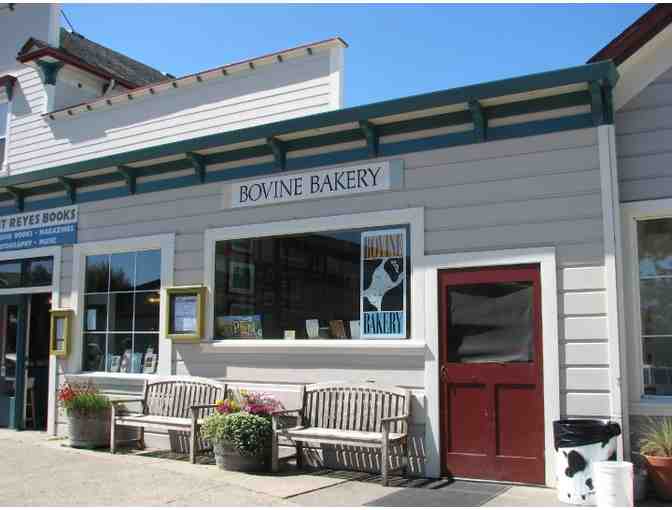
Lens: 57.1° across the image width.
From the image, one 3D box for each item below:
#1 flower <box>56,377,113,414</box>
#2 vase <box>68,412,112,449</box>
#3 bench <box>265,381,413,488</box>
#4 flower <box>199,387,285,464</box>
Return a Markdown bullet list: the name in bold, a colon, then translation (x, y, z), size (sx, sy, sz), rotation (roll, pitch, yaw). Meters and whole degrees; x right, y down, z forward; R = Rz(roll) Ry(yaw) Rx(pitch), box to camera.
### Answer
- **flower**: translation (-3.890, 2.193, 9.653), size (0.621, 0.411, 0.716), rotation (-1, 2, 0)
- **vase**: translation (-3.912, 2.697, 9.526), size (0.662, 0.509, 0.680), rotation (9, -22, -42)
- **bench**: translation (0.033, 2.209, 7.743), size (1.730, 1.182, 0.706), rotation (-7, -12, 36)
- **flower**: translation (-1.267, 2.198, 8.191), size (0.819, 0.525, 0.783), rotation (7, -5, -27)
